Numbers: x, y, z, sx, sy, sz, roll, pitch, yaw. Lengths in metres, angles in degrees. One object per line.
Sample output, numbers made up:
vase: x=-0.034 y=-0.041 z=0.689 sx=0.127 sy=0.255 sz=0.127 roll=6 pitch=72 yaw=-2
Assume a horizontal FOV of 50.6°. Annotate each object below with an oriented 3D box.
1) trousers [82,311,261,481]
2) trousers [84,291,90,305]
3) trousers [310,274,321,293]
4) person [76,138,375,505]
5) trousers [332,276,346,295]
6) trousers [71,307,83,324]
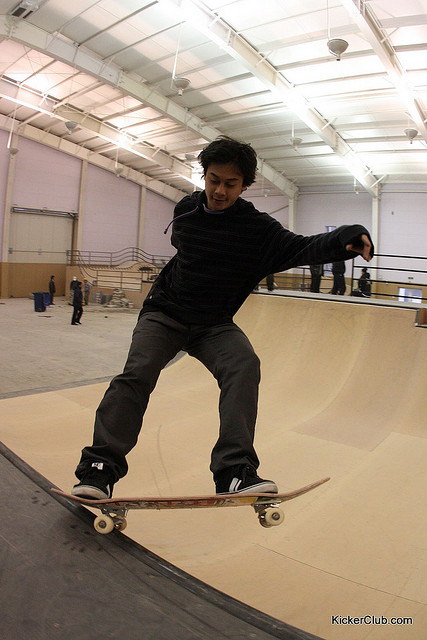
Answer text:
trousers: x=-0.126 y=0.257 z=1.676 sx=0.588 sy=0.545 sz=0.452 roll=1 pitch=5 yaw=3
trousers: x=-5.583 y=-1.026 z=19.881 sx=0.180 sy=0.544 sz=0.500 roll=-1 pitch=6 yaw=-22
trousers: x=2.339 y=-0.848 z=10.225 sx=0.159 sy=0.384 sz=0.338 roll=4 pitch=6 yaw=29
person: x=0.032 y=-0.063 z=1.684 sx=0.865 sy=1.247 sz=0.761 roll=2 pitch=5 yaw=6
trousers: x=2.712 y=-0.767 z=9.660 sx=0.255 sy=0.376 sz=0.294 roll=3 pitch=5 yaw=17
trousers: x=-3.654 y=-0.138 z=12.078 sx=0.256 sy=0.446 sz=0.313 roll=-1 pitch=6 yaw=-20
